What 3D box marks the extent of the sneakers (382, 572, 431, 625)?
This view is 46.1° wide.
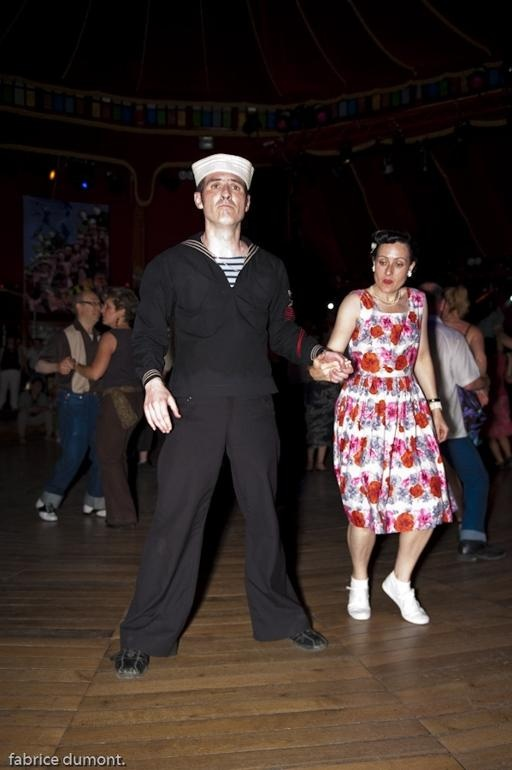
[{"bbox_3d":[0.582,0.850,2.396,0.085,0.092,0.229,-5,31,-27],"label":"sneakers"}]

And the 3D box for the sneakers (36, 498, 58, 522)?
[{"bbox_3d":[-1.541,0.925,4.405,0.099,0.098,0.237,9,-4,-35],"label":"sneakers"}]

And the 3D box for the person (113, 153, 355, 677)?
[{"bbox_3d":[-0.086,0.082,1.919,0.676,1.623,0.350,1,-3,-24],"label":"person"}]
